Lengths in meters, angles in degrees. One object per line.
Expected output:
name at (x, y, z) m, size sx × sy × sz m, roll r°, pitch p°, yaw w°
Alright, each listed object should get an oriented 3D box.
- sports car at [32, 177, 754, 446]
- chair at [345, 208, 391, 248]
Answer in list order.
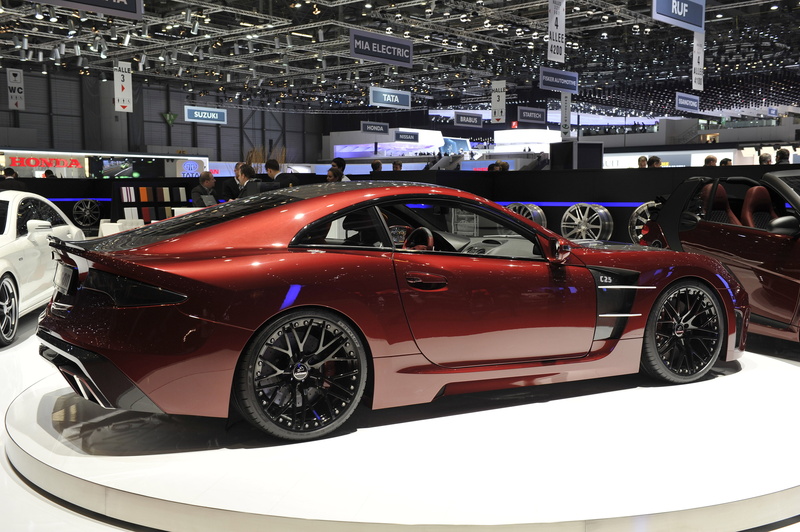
sports car at (0.378, 0.371, 4.135) m, size 4.868 × 0.962 × 1.716 m, roll -2°, pitch -4°, yaw -16°
chair at (-0.231, -0.272, 3.625) m, size 0.388 × 0.237 × 0.302 m, roll 1°, pitch 12°, yaw 7°
